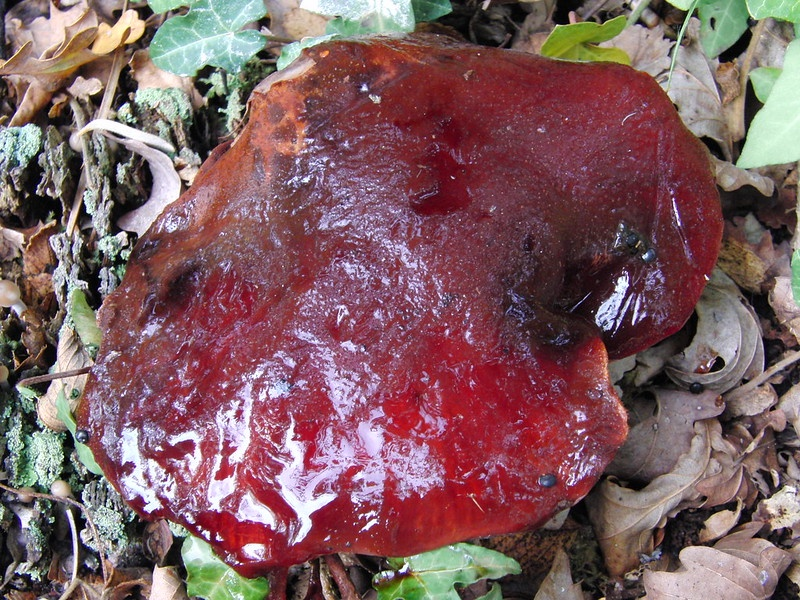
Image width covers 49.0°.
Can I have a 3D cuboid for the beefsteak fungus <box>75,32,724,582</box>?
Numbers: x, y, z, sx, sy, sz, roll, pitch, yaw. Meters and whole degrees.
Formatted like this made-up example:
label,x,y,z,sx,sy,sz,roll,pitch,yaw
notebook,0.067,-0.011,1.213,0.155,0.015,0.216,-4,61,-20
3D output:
label,x,y,z,sx,sy,sz,roll,pitch,yaw
beefsteak fungus,0.016,0.006,3.039,2.320,0.340,1.752,-34,81,-3
